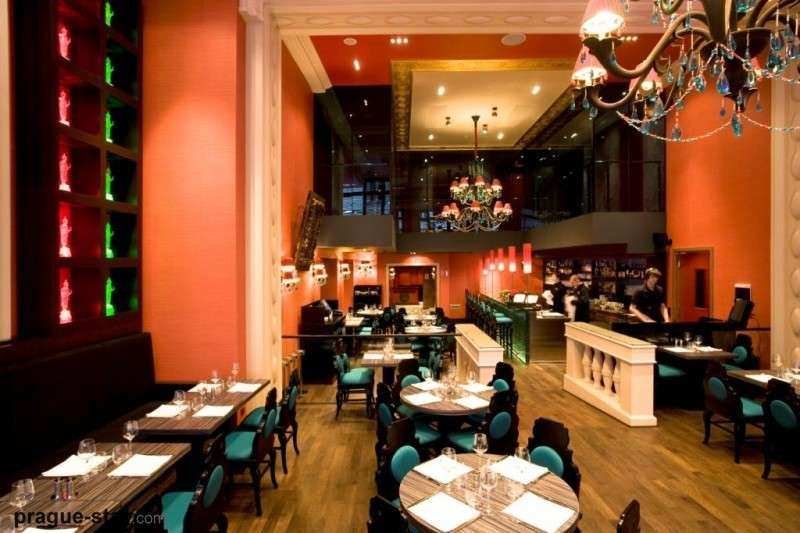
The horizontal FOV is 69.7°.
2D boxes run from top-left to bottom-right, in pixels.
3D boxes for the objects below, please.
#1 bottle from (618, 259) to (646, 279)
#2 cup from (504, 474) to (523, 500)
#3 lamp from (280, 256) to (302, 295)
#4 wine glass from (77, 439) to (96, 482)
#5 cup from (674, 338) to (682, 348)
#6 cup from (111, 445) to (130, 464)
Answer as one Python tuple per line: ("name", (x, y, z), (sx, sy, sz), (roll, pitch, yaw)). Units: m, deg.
("bottle", (5.901, 0.092, 14.513), (0.178, 0.467, 0.505), (1, 2, -13))
("cup", (1.266, 2.475, 6.378), (0.174, 0.140, 0.157), (0, 1, -1))
("lamp", (-2.119, 0.219, 11.029), (0.522, 0.765, 0.878), (-2, -1, 1))
("wine glass", (-3.658, 2.216, 6.702), (0.171, 0.385, 0.338), (-4, 3, -30))
("cup", (4.989, 1.402, 10.261), (0.129, 0.174, 0.129), (-1, 1, 0))
("cup", (-3.300, 2.210, 6.783), (0.200, 0.198, 0.196), (-1, -2, 0))
